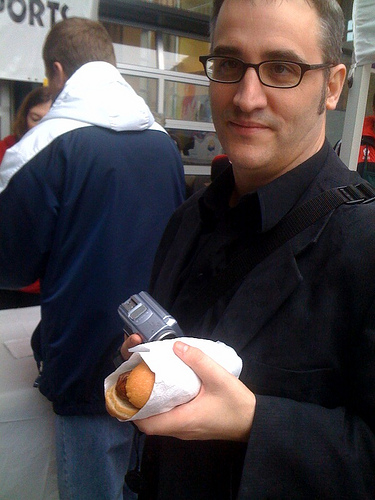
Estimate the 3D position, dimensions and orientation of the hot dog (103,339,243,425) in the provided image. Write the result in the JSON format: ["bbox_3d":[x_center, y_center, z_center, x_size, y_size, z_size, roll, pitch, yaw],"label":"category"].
[{"bbox_3d":[-0.040,0.224,0.762,0.252,0.134,0.100,-11,-11,-8],"label":"hot dog"}]

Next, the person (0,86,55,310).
[{"bbox_3d":[-1.290,-0.496,3.330,0.449,1.732,1.219,-2,2,-28],"label":"person"}]

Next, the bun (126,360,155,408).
[{"bbox_3d":[-0.081,0.228,0.697,0.038,0.073,0.058,9,-27,-4],"label":"bun"}]
